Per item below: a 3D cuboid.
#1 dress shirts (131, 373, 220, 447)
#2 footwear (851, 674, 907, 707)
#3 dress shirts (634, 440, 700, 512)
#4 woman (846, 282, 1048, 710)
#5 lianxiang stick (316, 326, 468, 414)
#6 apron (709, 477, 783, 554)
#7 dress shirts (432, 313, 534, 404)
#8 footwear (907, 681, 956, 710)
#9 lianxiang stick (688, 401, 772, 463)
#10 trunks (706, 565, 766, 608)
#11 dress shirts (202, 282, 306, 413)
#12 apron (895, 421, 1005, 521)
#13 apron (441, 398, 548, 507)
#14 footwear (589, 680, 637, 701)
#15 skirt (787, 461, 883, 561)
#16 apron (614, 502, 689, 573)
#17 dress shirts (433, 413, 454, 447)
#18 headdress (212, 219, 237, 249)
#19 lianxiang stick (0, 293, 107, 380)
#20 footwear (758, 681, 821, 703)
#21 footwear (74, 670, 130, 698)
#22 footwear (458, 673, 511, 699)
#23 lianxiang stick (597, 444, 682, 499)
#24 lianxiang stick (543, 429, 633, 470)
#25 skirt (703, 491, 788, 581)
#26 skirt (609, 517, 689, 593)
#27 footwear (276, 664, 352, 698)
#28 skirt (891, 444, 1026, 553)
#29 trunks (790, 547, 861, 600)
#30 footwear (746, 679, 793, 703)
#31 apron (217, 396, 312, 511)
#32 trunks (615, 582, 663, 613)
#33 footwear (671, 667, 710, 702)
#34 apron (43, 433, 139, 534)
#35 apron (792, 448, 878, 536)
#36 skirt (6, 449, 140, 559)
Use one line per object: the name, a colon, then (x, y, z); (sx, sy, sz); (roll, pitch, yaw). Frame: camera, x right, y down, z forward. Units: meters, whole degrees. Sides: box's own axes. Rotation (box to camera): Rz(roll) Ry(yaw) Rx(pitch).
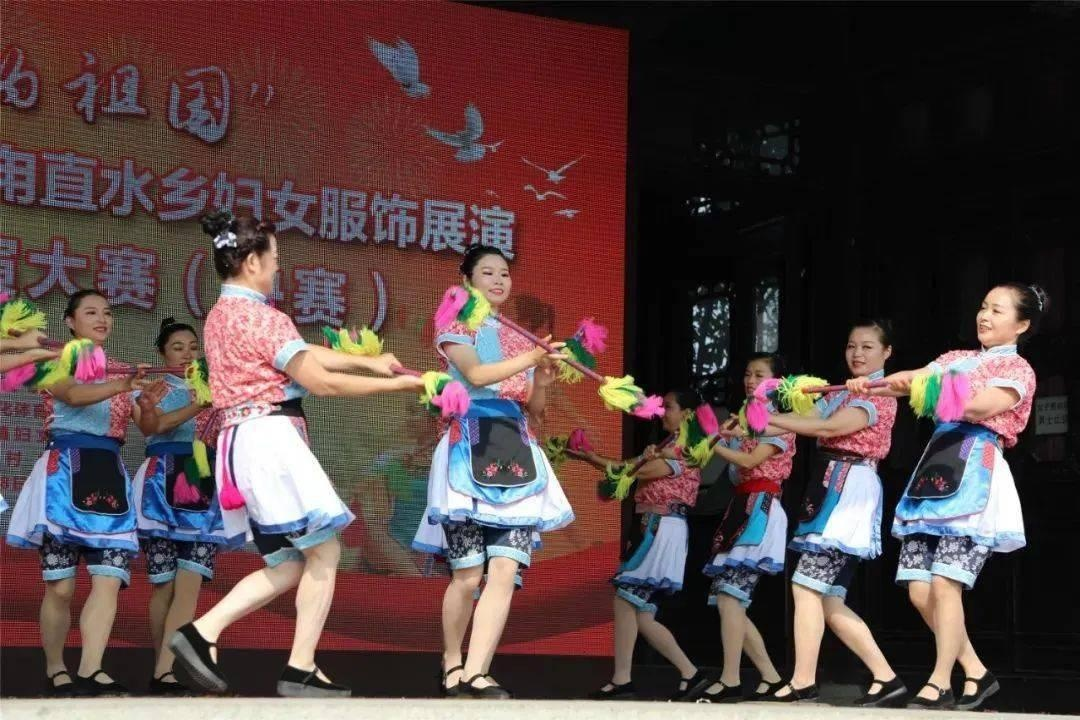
dress shirts: (-1.664, 0.232, 5.363); (0.266, 0.402, 0.374); (-17, -12, 35)
footwear: (1.569, 1.500, 5.321); (0.305, 0.104, 0.096); (-15, -2, -12)
dress shirts: (0.662, 0.601, 5.979); (0.219, 0.286, 0.315); (9, -31, 8)
woman: (1.740, 0.543, 5.142); (1.181, 1.865, 0.736); (6, -13, -3)
lianxiang stick: (-0.656, 0.055, 5.094); (0.628, 0.181, 0.192); (27, 29, 11)
apron: (1.066, 0.802, 5.934); (0.277, 0.350, 0.380); (27, -24, -17)
dress shirts: (-0.194, -0.016, 4.993); (0.445, 0.338, 0.223); (-1, -3, -41)
footwear: (1.665, 1.430, 4.942); (0.208, 0.069, 0.085); (8, -17, -17)
lianxiang stick: (0.929, 0.395, 5.918); (0.540, 0.364, 0.187); (-4, -53, -6)
trunks: (0.998, 1.147, 5.938); (0.261, 0.199, 0.265); (-3, -36, 15)
dress shirts: (-1.082, -0.020, 4.435); (0.414, 0.419, 0.159); (3, 1, -1)
apron: (1.847, 0.468, 5.085); (0.353, 0.477, 0.430); (18, -14, -39)
apron: (-0.183, 0.384, 4.825); (0.417, 0.430, 0.116); (0, -15, -6)
footwear: (0.386, 1.642, 5.809); (0.276, 0.081, 0.096); (2, -8, -2)
skirt: (1.453, 0.679, 5.548); (0.394, 0.451, 0.561); (13, -11, -26)
apron: (0.618, 0.965, 6.103); (0.325, 0.359, 0.399); (30, -24, -22)
dress shirts: (-0.389, 0.298, 4.950); (0.129, 0.132, 0.075); (1, 1, 10)
headdress: (-1.188, -0.464, 4.440); (0.112, 0.094, 0.090); (14, -24, -12)
lianxiang stick: (-2.011, -0.061, 4.958); (0.182, 0.387, 0.373); (-14, -38, -48)
footwear: (1.128, 1.560, 5.443); (0.389, 0.093, 0.124); (-1, -14, 11)
footwear: (-1.895, 1.403, 5.043); (0.228, 0.077, 0.103); (1, -7, -1)
footwear: (-0.218, 1.312, 4.714); (0.189, 0.064, 0.102); (-5, -10, 26)
lianxiang stick: (0.529, 0.606, 6.071); (0.520, 0.168, 0.177); (-22, -10, -29)
lianxiang stick: (0.250, 0.458, 6.017); (0.376, 0.162, 0.236); (4, -3, -39)
skirt: (1.067, 0.907, 5.924); (0.455, 0.421, 0.337); (-17, -40, 40)
skirt: (0.566, 1.000, 5.963); (0.268, 0.315, 0.345); (32, -34, -19)
footwear: (-0.871, 1.223, 4.444); (0.348, 0.118, 0.103); (3, -9, -8)
skirt: (1.855, 0.610, 5.073); (0.684, 0.531, 0.355); (-2, -39, 27)
trunks: (1.328, 0.970, 5.482); (0.262, 0.207, 0.290); (15, -17, 31)
footwear: (1.130, 1.632, 5.741); (0.244, 0.078, 0.074); (6, -22, -33)
apron: (-1.037, 0.360, 4.389); (0.437, 0.479, 0.279); (-6, -13, 9)
trunks: (0.517, 1.192, 5.997); (0.218, 0.136, 0.277); (10, 2, 5)
footwear: (0.760, 1.625, 5.824); (0.216, 0.085, 0.100); (-35, 9, 0)
apron: (-2.027, 0.555, 5.244); (0.286, 0.426, 0.398); (-18, -17, 36)
apron: (1.433, 0.644, 5.565); (0.298, 0.414, 0.350); (20, 1, -5)
skirt: (-2.058, 0.656, 5.176); (0.557, 0.414, 0.279); (9, -27, -20)
